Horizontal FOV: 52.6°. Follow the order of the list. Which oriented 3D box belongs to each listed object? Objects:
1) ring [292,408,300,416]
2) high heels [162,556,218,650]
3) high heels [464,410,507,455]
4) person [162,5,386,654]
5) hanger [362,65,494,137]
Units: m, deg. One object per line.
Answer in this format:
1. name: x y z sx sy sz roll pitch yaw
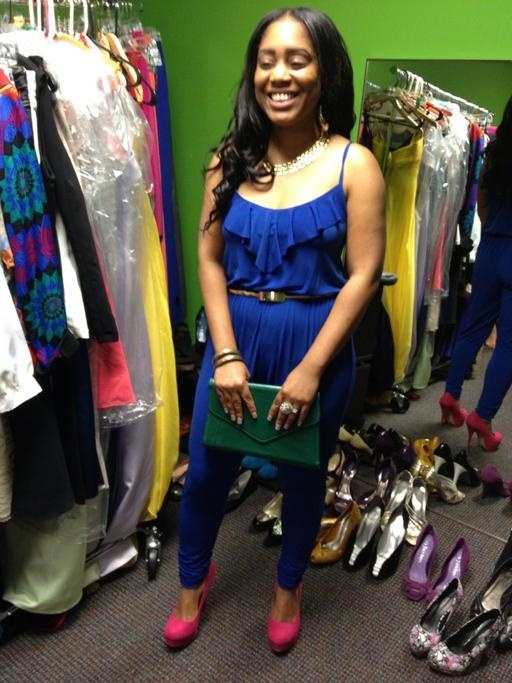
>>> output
1. ring: 0.075 0.134 0.981 0.008 0.015 0.005 0 9 2
2. high heels: -0.172 0.716 1.357 0.060 0.099 0.213 1 -3 12
3. high heels: 0.963 0.388 2.202 0.156 0.192 0.106 -1 13 -9
4. person: 0.022 0.083 1.132 0.469 1.444 0.300 7 12 28
5. hanger: 0.632 -0.975 2.072 0.376 0.134 0.270 25 -1 -24
